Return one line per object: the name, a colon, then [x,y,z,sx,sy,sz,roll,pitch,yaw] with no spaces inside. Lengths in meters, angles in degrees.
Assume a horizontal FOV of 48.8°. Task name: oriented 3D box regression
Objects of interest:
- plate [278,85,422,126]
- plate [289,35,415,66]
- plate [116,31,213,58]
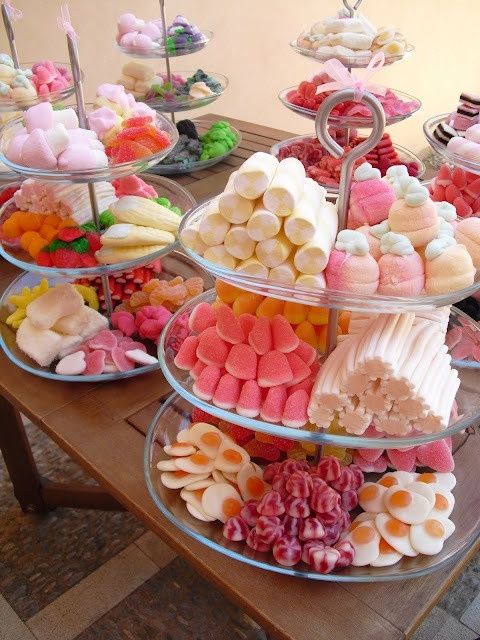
plate: [0.251,-0.560,1.388,0.359,0.039,0.338,23,30,14]
plate: [0.271,-0.686,1.360,0.335,0.069,0.373,8,28,11]
plate: [-0.225,-0.986,1.902,0.196,0.084,0.376,26,35,37]
